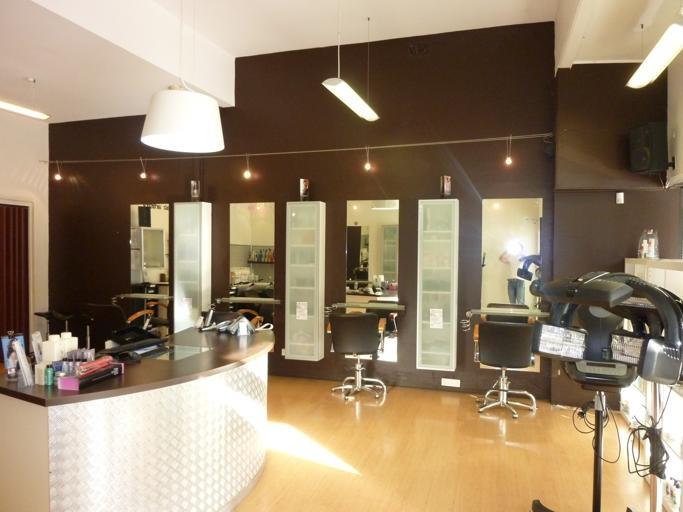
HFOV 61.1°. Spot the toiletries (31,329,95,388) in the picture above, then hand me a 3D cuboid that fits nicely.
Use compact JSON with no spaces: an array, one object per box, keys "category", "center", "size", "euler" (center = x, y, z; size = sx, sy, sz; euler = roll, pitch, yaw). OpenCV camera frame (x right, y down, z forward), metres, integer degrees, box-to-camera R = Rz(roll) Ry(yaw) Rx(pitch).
[{"category":"toiletries","center":[-2.344,0.823,4.890],"size":[0.477,0.384,0.402],"euler":[-7,13,-28]}]

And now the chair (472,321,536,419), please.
[{"category":"chair","center":[2.019,1.311,7.091],"size":[0.780,1.205,0.669],"euler":[3,11,17]}]

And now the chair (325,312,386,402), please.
[{"category":"chair","center":[0.257,1.279,7.704],"size":[0.904,1.311,0.979],"euler":[0,0,15]}]

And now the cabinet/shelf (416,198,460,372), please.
[{"category":"cabinet/shelf","center":[1.212,0.468,7.436],"size":[0.483,2.199,0.173],"euler":[1,17,12]}]

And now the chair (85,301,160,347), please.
[{"category":"chair","center":[-3.004,0.913,8.019],"size":[0.518,0.721,0.499],"euler":[20,13,27]}]

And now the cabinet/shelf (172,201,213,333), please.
[{"category":"cabinet/shelf","center":[-2.176,0.146,8.413],"size":[0.606,1.850,0.575],"euler":[-2,11,-10]}]

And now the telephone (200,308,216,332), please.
[{"category":"telephone","center":[-1.499,0.713,6.492],"size":[0.164,0.186,0.243],"euler":[-2,12,-10]}]

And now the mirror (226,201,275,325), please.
[{"category":"mirror","center":[-1.319,-0.095,8.608],"size":[0.704,1.442,0.496],"euler":[-2,11,-6]}]

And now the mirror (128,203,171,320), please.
[{"category":"mirror","center":[-2.969,-0.131,8.954],"size":[0.640,1.368,0.211],"euler":[1,11,6]}]

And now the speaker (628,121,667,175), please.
[{"category":"speaker","center":[3.507,-1.253,6.635],"size":[0.331,0.492,0.361],"euler":[-5,5,-10]}]

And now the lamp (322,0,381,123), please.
[{"category":"lamp","center":[0.169,-2.597,7.587],"size":[0.246,1.204,1.151],"euler":[-3,-12,23]}]

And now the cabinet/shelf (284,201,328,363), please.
[{"category":"cabinet/shelf","center":[-0.516,0.338,7.946],"size":[0.553,2.128,0.477],"euler":[-2,11,-5]}]

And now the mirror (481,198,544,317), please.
[{"category":"mirror","center":[2.250,-0.008,7.606],"size":[0.817,1.811,0.076],"euler":[2,38,19]}]
